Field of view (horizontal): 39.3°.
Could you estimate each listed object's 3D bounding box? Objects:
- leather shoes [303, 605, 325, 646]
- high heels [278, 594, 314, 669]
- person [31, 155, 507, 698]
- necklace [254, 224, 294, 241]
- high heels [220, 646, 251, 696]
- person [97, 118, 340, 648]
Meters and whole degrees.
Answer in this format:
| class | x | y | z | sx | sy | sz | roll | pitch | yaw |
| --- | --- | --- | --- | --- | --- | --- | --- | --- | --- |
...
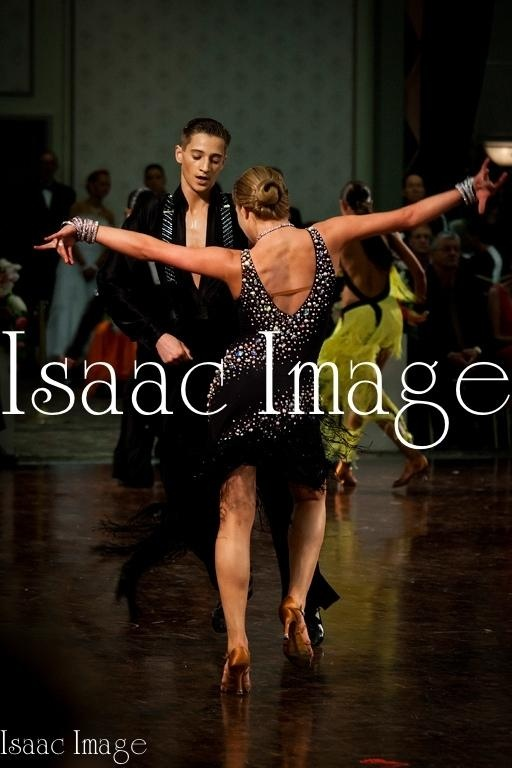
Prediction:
| class | x | y | z | sx | sy | sz | roll | pitch | yaw |
| --- | --- | --- | --- | --- | --- | --- | --- | --- | --- |
| leather shoes | 0.200 | 0.836 | 2.485 | 0.069 | 0.130 | 0.055 | -4 | -2 | 1 |
| high heels | 0.120 | 0.692 | 2.021 | 0.083 | 0.196 | 0.080 | -15 | 4 | 13 |
| person | 0.038 | 0.127 | 2.036 | 1.102 | 1.438 | 0.461 | 2 | -4 | -23 |
| necklace | 0.037 | -0.395 | 1.890 | 0.070 | 0.016 | 0.061 | -33 | -10 | 39 |
| high heels | -0.055 | 0.743 | 1.857 | 0.058 | 0.068 | 0.166 | 1 | -8 | -4 |
| person | -0.063 | -0.008 | 2.609 | 0.828 | 1.727 | 0.656 | 4 | 25 | 14 |
